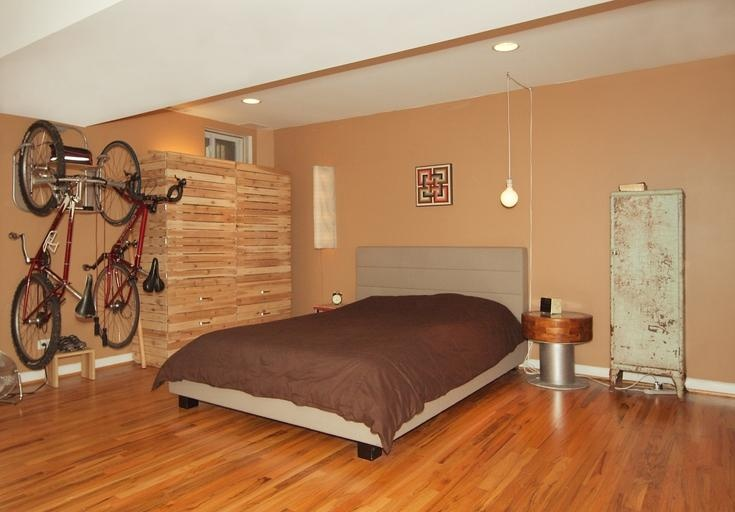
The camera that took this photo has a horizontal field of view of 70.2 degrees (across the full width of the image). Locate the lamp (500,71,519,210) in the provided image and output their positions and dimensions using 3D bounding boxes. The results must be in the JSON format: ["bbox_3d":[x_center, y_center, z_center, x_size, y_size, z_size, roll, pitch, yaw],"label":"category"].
[{"bbox_3d":[1.574,-1.214,5.748,0.187,1.412,0.464,2,11,15],"label":"lamp"}]

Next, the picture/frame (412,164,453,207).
[{"bbox_3d":[0.798,-0.853,6.340,0.545,0.542,0.057,1,-1,38],"label":"picture/frame"}]

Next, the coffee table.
[{"bbox_3d":[1.923,0.966,5.471,0.723,0.785,0.740,-1,-2,27],"label":"coffee table"}]

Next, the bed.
[{"bbox_3d":[-0.059,0.575,5.267,2.483,1.196,2.785,0,11,41],"label":"bed"}]

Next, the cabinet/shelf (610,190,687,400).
[{"bbox_3d":[2.658,0.345,5.027,0.728,1.939,0.333,4,12,23],"label":"cabinet/shelf"}]
